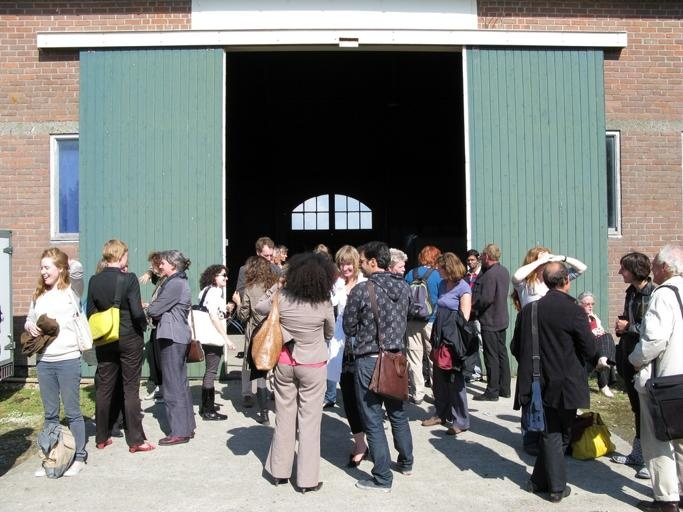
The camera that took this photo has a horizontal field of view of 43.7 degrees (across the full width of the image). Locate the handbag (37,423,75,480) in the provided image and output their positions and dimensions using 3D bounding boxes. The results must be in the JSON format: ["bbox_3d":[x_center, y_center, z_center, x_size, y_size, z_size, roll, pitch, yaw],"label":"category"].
[{"bbox_3d":[-3.260,2.267,9.836,0.455,0.643,0.319,-9,-1,40],"label":"handbag"}]

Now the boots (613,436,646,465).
[{"bbox_3d":[3.378,2.330,10.131,0.399,0.344,0.210,-1,-6,18],"label":"boots"}]

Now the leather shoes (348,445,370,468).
[{"bbox_3d":[0.205,2.413,10.146,0.114,0.149,0.344,-16,-15,28],"label":"leather shoes"}]

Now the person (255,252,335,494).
[{"bbox_3d":[-0.497,1.284,9.654,0.863,2.474,0.745,-2,11,-4],"label":"person"}]

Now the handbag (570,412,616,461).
[{"bbox_3d":[2.984,2.182,10.216,0.607,0.656,0.330,0,-2,-23],"label":"handbag"}]

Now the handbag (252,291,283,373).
[{"bbox_3d":[-0.830,0.884,9.596,0.358,0.892,0.316,-4,12,-15],"label":"handbag"}]

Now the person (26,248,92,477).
[{"bbox_3d":[-3.251,1.228,9.915,0.692,2.536,0.640,-3,11,-9],"label":"person"}]

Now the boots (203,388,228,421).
[{"bbox_3d":[-1.727,1.978,11.361,0.415,0.549,0.266,0,1,-16],"label":"boots"}]

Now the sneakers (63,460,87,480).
[{"bbox_3d":[-3.104,2.490,9.902,0.084,0.109,0.249,6,10,14],"label":"sneakers"}]

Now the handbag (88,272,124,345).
[{"bbox_3d":[-2.794,0.648,10.198,0.484,0.928,0.198,-18,-28,28],"label":"handbag"}]

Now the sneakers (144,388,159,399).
[{"bbox_3d":[-2.716,1.979,12.257,0.303,0.153,0.109,1,-6,39],"label":"sneakers"}]

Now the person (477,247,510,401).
[{"bbox_3d":[2.122,0.933,11.999,0.531,2.126,0.619,2,12,14],"label":"person"}]

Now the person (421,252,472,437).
[{"bbox_3d":[1.384,1.139,10.908,0.607,2.182,0.867,0,12,5],"label":"person"}]

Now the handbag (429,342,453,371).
[{"bbox_3d":[1.247,1.254,10.643,0.173,0.391,0.344,-9,8,-35],"label":"handbag"}]

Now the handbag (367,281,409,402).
[{"bbox_3d":[0.525,0.989,9.663,0.431,1.302,0.450,-1,11,1],"label":"handbag"}]

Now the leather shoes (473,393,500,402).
[{"bbox_3d":[2.021,1.978,11.948,0.352,0.184,0.140,3,-2,11],"label":"leather shoes"}]

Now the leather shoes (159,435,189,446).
[{"bbox_3d":[-2.066,2.286,10.559,0.310,0.146,0.141,5,-4,-11],"label":"leather shoes"}]

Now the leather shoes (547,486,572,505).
[{"bbox_3d":[2.387,2.622,9.435,0.105,0.148,0.310,1,13,37],"label":"leather shoes"}]

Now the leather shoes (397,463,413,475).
[{"bbox_3d":[0.733,2.476,9.917,0.093,0.095,0.200,0,-7,-18],"label":"leather shoes"}]

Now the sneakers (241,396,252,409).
[{"bbox_3d":[-1.298,2.013,11.762,0.079,0.169,0.226,1,4,-5],"label":"sneakers"}]

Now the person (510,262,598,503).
[{"bbox_3d":[2.427,1.385,9.770,0.957,2.693,0.810,4,6,40],"label":"person"}]

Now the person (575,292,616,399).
[{"bbox_3d":[3.267,1.189,11.051,0.374,1.481,0.571,-4,-13,5],"label":"person"}]

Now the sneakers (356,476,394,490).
[{"bbox_3d":[0.358,2.580,9.725,0.352,0.174,0.162,5,-5,12],"label":"sneakers"}]
